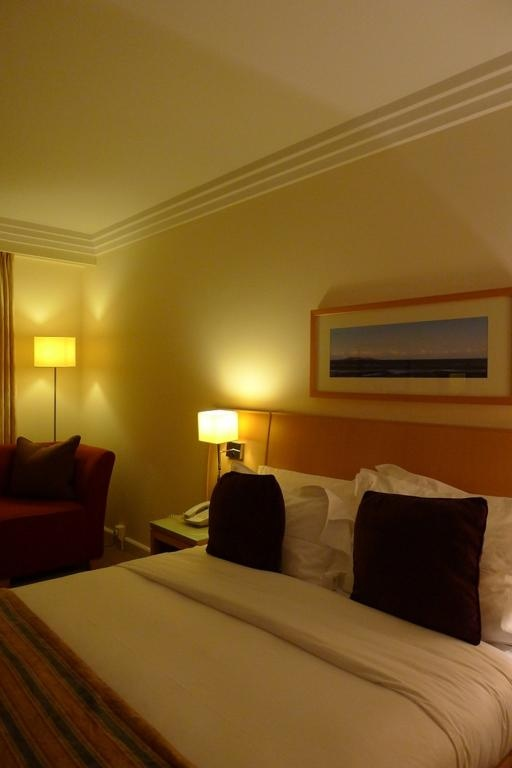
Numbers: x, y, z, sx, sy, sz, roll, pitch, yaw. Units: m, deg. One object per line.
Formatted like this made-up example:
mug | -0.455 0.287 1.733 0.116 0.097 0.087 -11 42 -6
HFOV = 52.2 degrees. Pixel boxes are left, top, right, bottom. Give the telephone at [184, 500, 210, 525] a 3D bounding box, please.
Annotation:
telephone | -0.326 0.740 3.112 0.139 0.079 0.194 -2 6 41

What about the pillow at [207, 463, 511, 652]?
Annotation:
pillow | 0.425 0.573 2.093 0.189 0.475 0.727 30 -20 -30

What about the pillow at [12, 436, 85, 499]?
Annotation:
pillow | -1.467 0.604 3.686 0.366 0.369 0.145 1 -26 -1
